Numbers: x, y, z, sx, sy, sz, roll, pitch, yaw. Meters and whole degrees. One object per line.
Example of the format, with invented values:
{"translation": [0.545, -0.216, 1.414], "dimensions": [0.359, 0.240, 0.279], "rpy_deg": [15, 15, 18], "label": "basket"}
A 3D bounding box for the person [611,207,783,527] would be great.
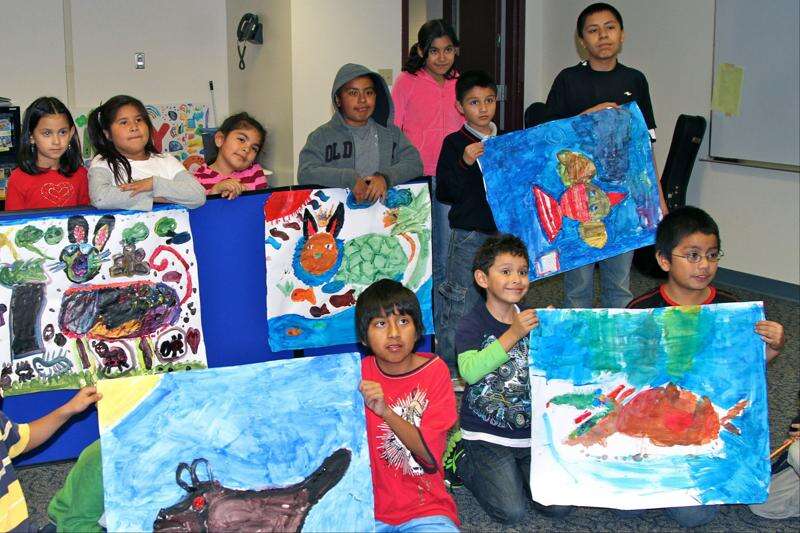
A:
{"translation": [1.219, 0.395, 2.666], "dimensions": [0.545, 1.226, 0.599], "rpy_deg": [-9, 16, -27], "label": "person"}

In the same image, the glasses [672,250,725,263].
{"translation": [1.277, -0.045, 2.644], "dimensions": [0.237, 0.046, 0.079], "rpy_deg": [-6, 16, -16], "label": "glasses"}

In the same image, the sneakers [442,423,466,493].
{"translation": [0.229, 0.849, 2.798], "dimensions": [0.123, 0.288, 0.094], "rpy_deg": [-2, 0, -6], "label": "sneakers"}

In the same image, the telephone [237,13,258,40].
{"translation": [-1.530, -2.386, 6.281], "dimensions": [0.170, 0.248, 0.285], "rpy_deg": [-13, 19, -39], "label": "telephone"}
